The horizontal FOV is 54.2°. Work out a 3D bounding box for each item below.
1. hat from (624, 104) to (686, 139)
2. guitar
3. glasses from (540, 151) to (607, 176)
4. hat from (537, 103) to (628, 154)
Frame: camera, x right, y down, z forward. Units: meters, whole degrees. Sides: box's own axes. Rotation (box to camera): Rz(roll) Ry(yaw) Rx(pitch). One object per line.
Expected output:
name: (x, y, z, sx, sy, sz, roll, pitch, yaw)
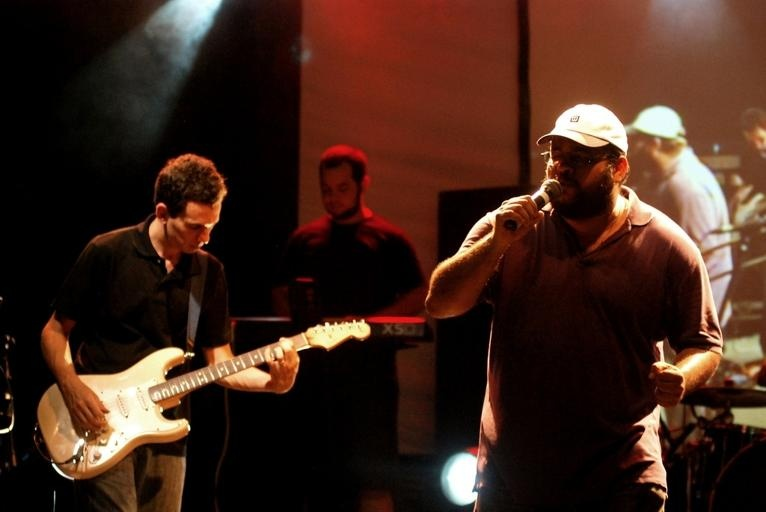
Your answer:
hat: (1.840, -0.863, 4.987, 0.285, 0.153, 0.219, 9, 4, 5)
guitar: (-1.035, 0.815, 4.667, 2.126, 0.725, 0.256, -20, -13, -15)
glasses: (0.962, -0.462, 3.725, 0.186, 0.064, 0.204, 1, -1, 23)
hat: (1.059, -0.672, 3.855, 0.354, 0.242, 0.487, 13, 6, 40)
